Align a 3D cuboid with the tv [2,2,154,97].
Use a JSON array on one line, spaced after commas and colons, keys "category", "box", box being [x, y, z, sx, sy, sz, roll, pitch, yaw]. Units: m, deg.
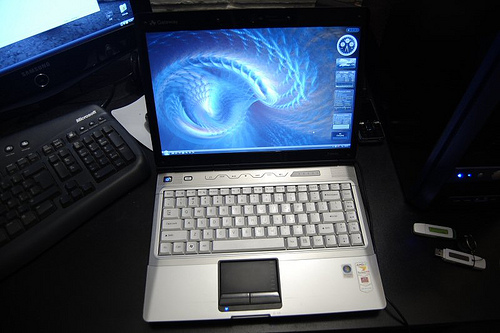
[{"category": "tv", "box": [-0.441, -0.305, 0.904, 0.262, 0.185, 0.069, -23, 28, -10]}]
